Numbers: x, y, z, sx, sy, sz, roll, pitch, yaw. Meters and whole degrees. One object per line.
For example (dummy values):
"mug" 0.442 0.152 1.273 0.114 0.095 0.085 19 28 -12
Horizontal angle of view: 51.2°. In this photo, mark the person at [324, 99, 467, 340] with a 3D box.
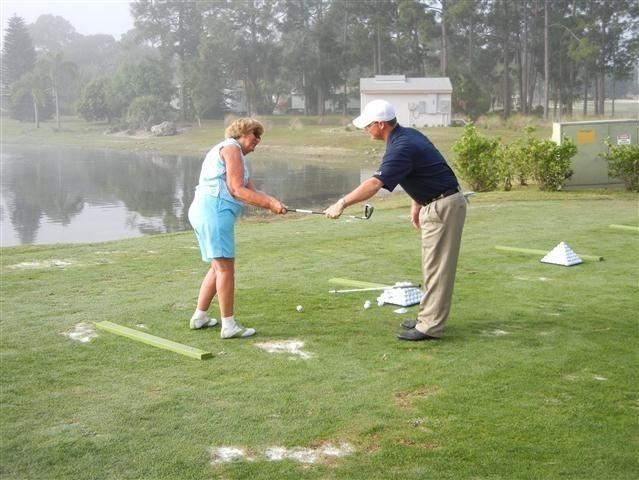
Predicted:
"person" 0.978 -0.228 7.075 1.192 2.580 0.903 -2 6 5

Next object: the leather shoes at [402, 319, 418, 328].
"leather shoes" 1.002 0.921 7.327 0.134 0.058 0.079 -9 12 -2

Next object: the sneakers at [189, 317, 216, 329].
"sneakers" -1.318 0.938 7.552 0.117 0.118 0.306 14 13 43

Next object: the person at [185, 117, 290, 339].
"person" -0.999 -0.134 7.302 0.953 2.378 0.894 -4 6 -15

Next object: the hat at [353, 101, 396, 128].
"hat" 0.570 -1.348 7.066 0.401 0.227 0.283 0 15 9
